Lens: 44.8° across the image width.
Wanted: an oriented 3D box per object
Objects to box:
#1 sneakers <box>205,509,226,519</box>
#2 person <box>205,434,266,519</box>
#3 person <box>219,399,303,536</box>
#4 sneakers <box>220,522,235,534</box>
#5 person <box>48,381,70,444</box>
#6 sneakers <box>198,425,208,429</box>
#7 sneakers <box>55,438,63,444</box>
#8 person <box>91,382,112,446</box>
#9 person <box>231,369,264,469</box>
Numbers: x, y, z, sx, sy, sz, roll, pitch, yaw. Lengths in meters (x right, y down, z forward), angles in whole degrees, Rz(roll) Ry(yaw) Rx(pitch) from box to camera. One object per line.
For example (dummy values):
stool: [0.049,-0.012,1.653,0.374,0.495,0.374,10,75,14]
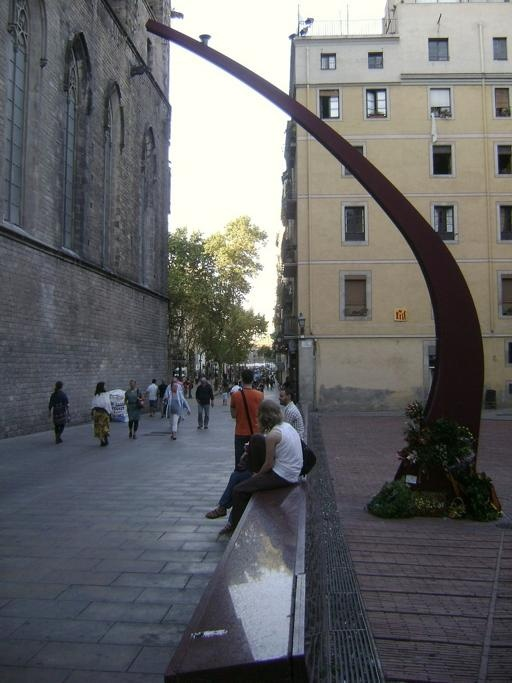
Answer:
sneakers: [-0.425,1.829,6.598,0.229,0.130,0.108,1,20,0]
person: [-0.130,1.466,6.555,0.539,0.405,1.099,-1,37,11]
person: [0.101,1.230,6.251,0.471,1.230,0.967,0,2,41]
sneakers: [-0.273,1.807,6.017,0.196,0.113,0.077,0,2,-2]
person: [-5.288,1.889,16.681,0.439,1.699,1.923,-2,2,-19]
sneakers: [-1.704,2.796,20.119,0.320,0.199,0.128,14,-9,-17]
sneakers: [-5.066,2.566,16.076,0.098,0.214,0.184,0,-10,-6]
person: [-3.964,1.916,15.998,0.424,1.655,2.181,-1,2,-14]
person: [-0.121,1.021,7.898,0.332,1.506,0.357,0,22,-3]
